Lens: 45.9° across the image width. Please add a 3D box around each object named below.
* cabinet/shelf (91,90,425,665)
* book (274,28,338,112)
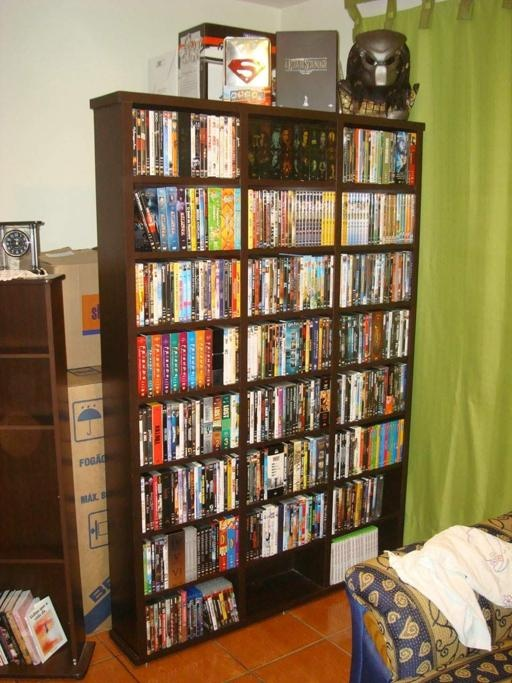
[{"bbox_3d":[0.033,0.112,2.340,1.395,2.035,0.371,-2,6,-38],"label":"cabinet/shelf"},{"bbox_3d":[0.173,-0.969,2.154,0.299,0.331,0.109,-8,22,-21],"label":"book"}]
